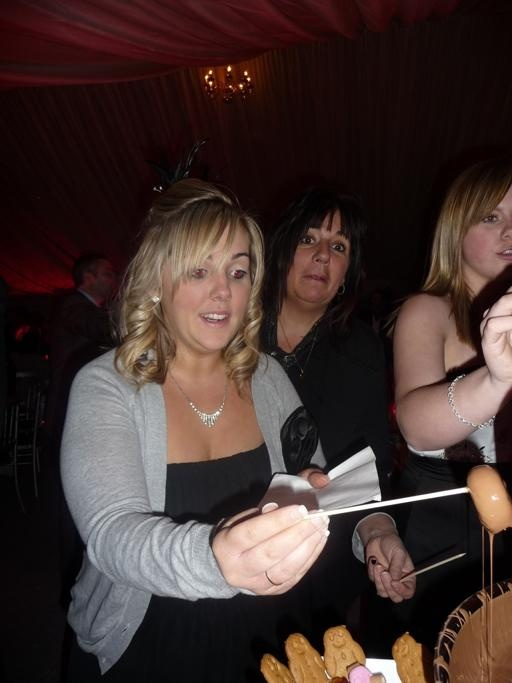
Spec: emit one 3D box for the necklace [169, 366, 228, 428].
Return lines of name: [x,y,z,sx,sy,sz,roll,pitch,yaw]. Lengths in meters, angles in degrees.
necklace: [-0.160,0.168,1.559,0.061,0.145,0.148,-39,-15,32]

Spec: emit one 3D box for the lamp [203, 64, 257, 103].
lamp: [-0.321,-3.136,6.600,0.508,0.392,0.487,9,30,13]

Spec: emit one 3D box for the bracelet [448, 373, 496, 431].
bracelet: [0.474,0.147,1.231,0.070,0.146,0.075,-10,26,18]

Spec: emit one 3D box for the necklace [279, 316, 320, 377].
necklace: [0.165,0.029,2.074,0.131,0.169,0.057,15,-11,9]
